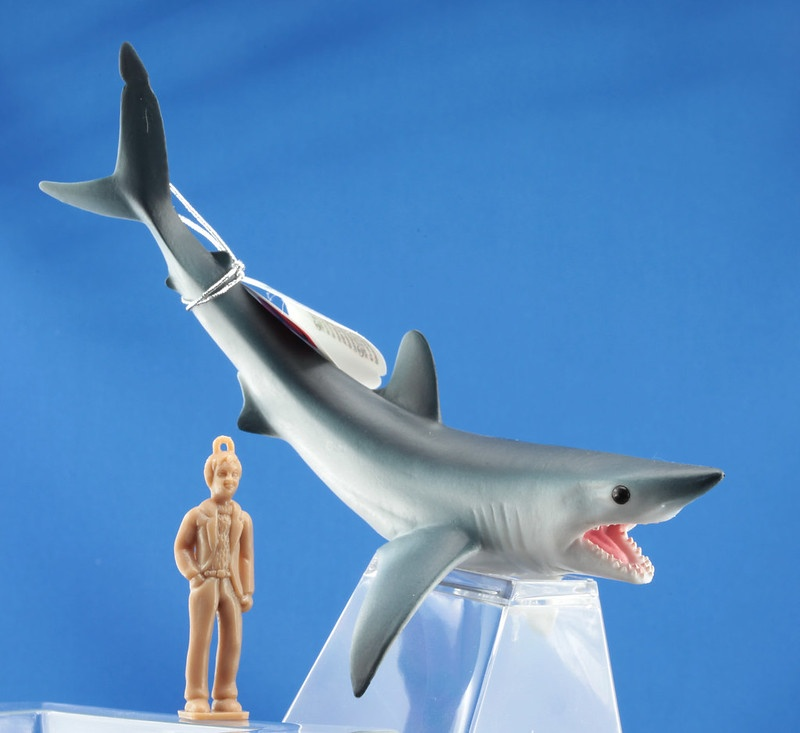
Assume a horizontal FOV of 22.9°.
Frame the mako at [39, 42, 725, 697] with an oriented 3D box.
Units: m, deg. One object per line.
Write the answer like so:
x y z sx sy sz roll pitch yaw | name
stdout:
-0.078 -0.011 3.846 1.425 0.753 0.973 21 -88 13 | mako
